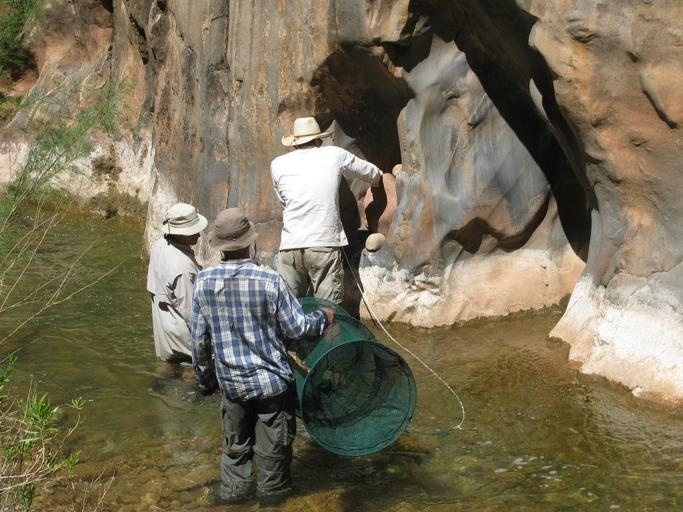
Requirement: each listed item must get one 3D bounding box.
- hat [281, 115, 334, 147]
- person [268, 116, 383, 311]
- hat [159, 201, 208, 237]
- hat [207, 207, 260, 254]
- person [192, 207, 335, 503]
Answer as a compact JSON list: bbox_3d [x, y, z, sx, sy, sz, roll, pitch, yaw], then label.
[{"bbox_3d":[-0.285,-1.045,7.460,0.295,0.149,0.332,-12,17,22],"label":"hat"},{"bbox_3d":[-0.149,-0.326,7.658,0.781,1.818,0.625,-8,37,-13],"label":"person"},{"bbox_3d":[-1.228,-0.291,6.946,0.341,0.215,0.406,3,21,22],"label":"hat"},{"bbox_3d":[-0.698,-0.187,5.693,0.335,0.199,0.310,-11,32,-17],"label":"hat"},{"bbox_3d":[-0.571,0.672,5.699,0.789,1.703,0.608,14,26,22],"label":"person"}]
